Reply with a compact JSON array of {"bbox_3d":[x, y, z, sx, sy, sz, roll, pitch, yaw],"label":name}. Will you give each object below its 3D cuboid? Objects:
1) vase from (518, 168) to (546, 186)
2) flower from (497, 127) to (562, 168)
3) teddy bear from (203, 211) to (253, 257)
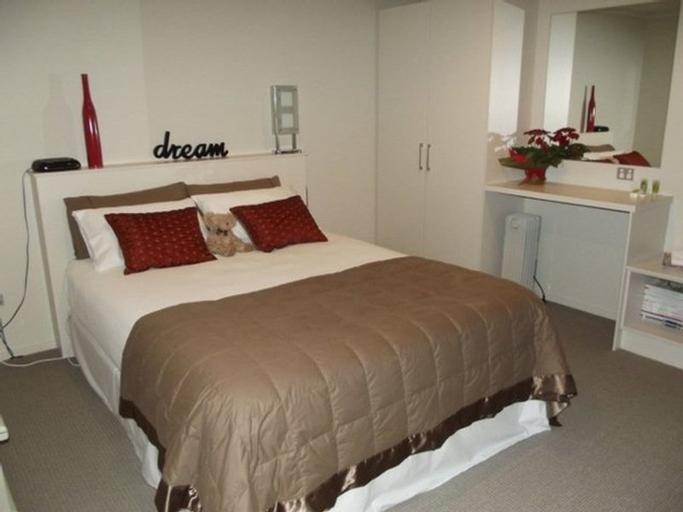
[{"bbox_3d":[1.623,-0.694,4.435,0.144,0.155,0.154,-17,21,-36],"label":"vase"},{"bbox_3d":[1.623,-0.878,4.403,0.377,0.192,0.389,-3,15,-9],"label":"flower"},{"bbox_3d":[-0.824,-0.190,3.785,0.287,0.382,0.337,7,17,38],"label":"teddy bear"}]
